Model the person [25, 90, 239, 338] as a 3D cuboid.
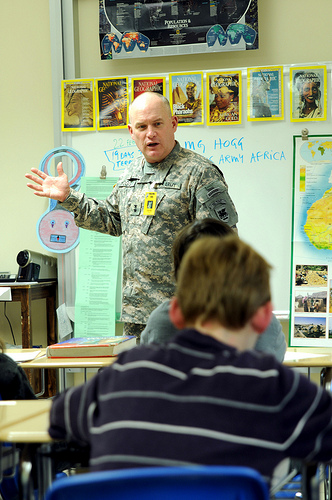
[{"bbox_3d":[-0.107,0.077,2.179,0.842,1.364,0.420,0,1,22],"label":"person"}]
